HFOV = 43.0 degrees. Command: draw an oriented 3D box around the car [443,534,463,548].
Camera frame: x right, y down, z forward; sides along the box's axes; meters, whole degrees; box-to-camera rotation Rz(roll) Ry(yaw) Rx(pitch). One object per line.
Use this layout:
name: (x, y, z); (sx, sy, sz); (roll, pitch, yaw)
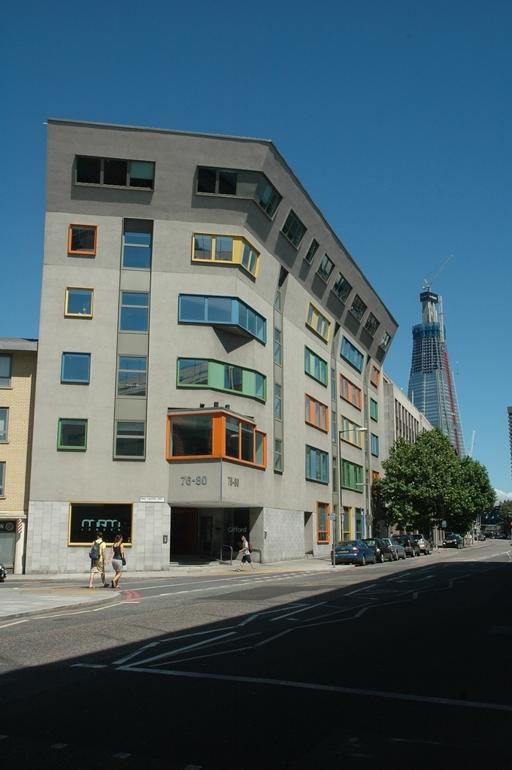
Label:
car: (23.577, 18.738, 78.148); (1.715, 1.652, 3.033); (-6, -24, 19)

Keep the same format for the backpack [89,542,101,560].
backpack: (-5.606, 5.870, 22.749); (0.286, 0.584, 0.617); (8, -17, -24)
